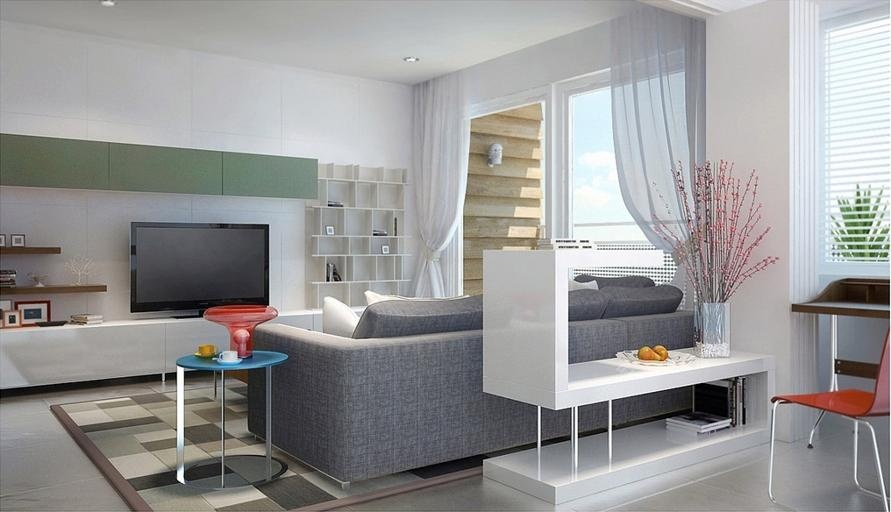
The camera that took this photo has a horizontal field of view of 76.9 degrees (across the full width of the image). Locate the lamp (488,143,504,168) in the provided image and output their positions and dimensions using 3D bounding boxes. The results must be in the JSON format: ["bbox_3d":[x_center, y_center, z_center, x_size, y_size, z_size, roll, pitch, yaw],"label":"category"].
[{"bbox_3d":[0.729,-1.486,8.248,0.224,0.326,0.082,1,9,10],"label":"lamp"}]

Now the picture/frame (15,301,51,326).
[{"bbox_3d":[-4.599,0.639,6.237,0.331,0.230,0.024,-1,-12,-34],"label":"picture/frame"}]

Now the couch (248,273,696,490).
[{"bbox_3d":[-0.043,0.378,4.254,3.968,1.226,1.525,-1,2,-30],"label":"couch"}]

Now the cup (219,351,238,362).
[{"bbox_3d":[-1.605,0.736,4.154,0.116,0.059,0.080,-1,5,-26],"label":"cup"}]

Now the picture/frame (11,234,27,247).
[{"bbox_3d":[-4.754,-0.174,6.243,0.189,0.175,0.015,-1,-5,-30],"label":"picture/frame"}]

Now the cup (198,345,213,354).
[{"bbox_3d":[-1.859,0.718,4.347,0.138,0.068,0.124,0,4,-19],"label":"cup"}]

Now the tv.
[{"bbox_3d":[-3.044,0.162,6.739,1.530,0.853,0.323,0,3,-24],"label":"tv"}]

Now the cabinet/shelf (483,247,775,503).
[{"bbox_3d":[1.441,0.995,4.441,2.239,1.210,0.644,-1,0,-36],"label":"cabinet/shelf"}]

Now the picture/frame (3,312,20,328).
[{"bbox_3d":[-4.740,0.692,6.123,0.214,0.197,0.023,0,-7,-25],"label":"picture/frame"}]

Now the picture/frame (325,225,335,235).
[{"bbox_3d":[-1.624,-0.371,7.864,0.017,0.125,0.175,-4,-5,45],"label":"picture/frame"}]
